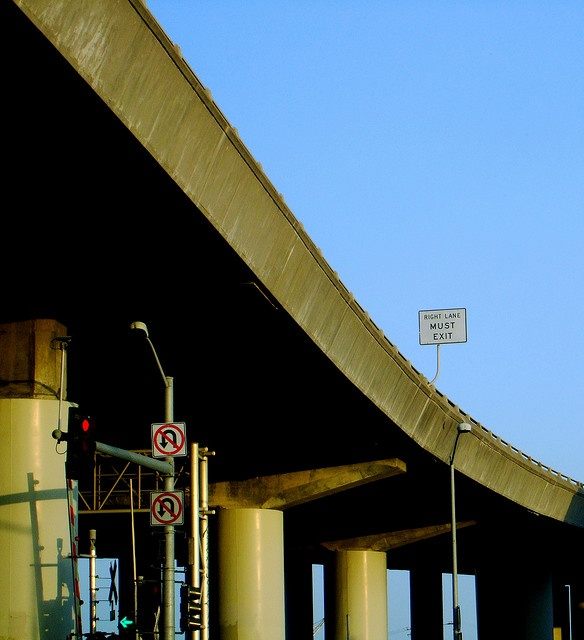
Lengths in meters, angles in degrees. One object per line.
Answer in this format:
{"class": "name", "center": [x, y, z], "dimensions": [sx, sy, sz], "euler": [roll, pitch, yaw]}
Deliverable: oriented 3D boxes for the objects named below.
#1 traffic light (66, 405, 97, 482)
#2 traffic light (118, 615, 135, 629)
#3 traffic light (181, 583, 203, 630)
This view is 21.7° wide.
{"class": "traffic light", "center": [-4.244, 2.835, 34.192], "dimensions": [0.617, 1.736, 0.574], "euler": [2, -12, -4]}
{"class": "traffic light", "center": [-3.668, 7.657, 38.216], "dimensions": [0.255, 0.290, 0.035], "euler": [42, -37, -13]}
{"class": "traffic light", "center": [-2.176, 7.396, 38.782], "dimensions": [0.492, 1.102, 0.828], "euler": [1, -14, 0]}
